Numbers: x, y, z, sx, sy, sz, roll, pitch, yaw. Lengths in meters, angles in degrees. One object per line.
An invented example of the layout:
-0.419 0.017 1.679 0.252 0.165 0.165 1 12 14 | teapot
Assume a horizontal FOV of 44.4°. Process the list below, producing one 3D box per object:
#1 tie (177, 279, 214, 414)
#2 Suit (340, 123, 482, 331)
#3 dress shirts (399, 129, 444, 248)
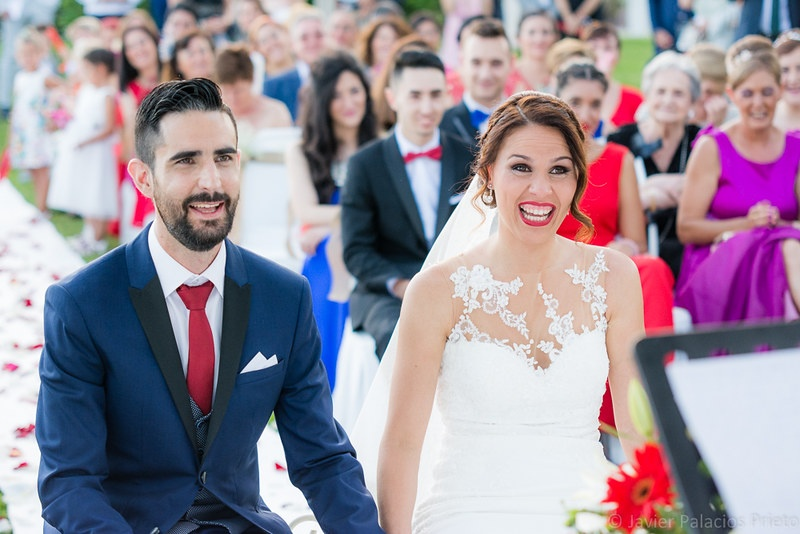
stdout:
-0.913 0.369 4.504 0.159 0.601 0.050 -2 -8 -13 | tie
0.093 -0.208 6.928 1.034 1.656 1.085 0 -2 -6 | Suit
0.150 -0.570 6.599 0.383 0.605 0.133 -4 0 -20 | dress shirts
